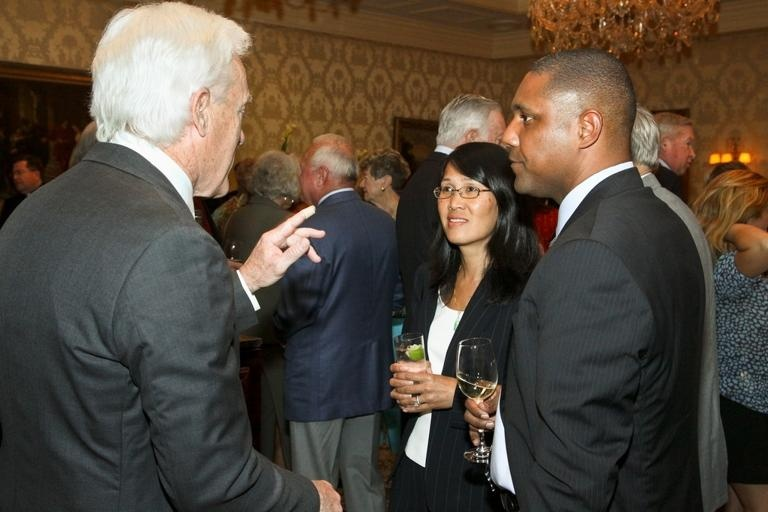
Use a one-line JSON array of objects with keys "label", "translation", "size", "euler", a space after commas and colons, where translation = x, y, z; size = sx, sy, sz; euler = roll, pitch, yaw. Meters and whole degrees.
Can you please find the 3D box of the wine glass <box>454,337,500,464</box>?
[{"label": "wine glass", "translation": [0.335, 0.549, 2.318], "size": [0.143, 0.536, 0.241], "euler": [5, 13, 11]}]
